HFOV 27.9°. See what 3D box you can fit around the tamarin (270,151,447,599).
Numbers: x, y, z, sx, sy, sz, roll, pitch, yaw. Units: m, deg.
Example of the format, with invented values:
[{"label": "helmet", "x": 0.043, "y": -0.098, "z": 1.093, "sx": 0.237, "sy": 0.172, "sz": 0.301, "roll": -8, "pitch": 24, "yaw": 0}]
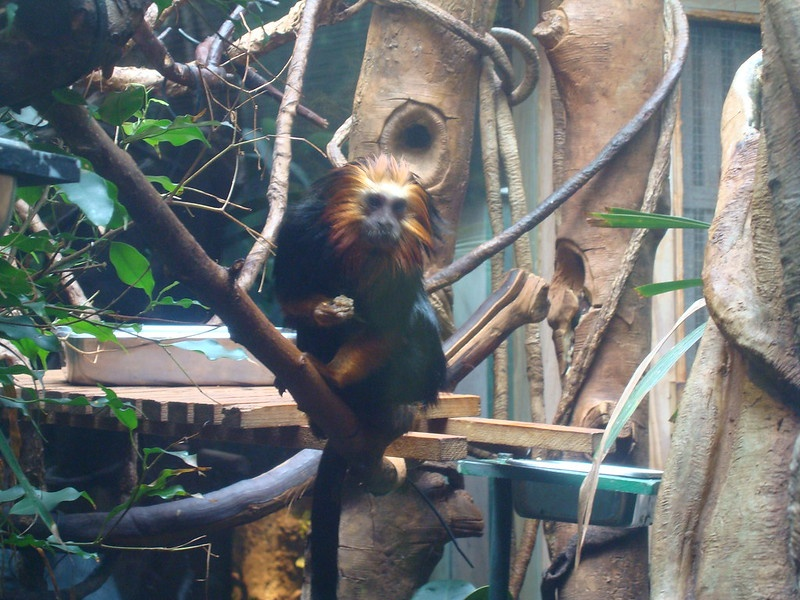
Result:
[{"label": "tamarin", "x": -0.082, "y": 0.003, "z": 3.565, "sx": 0.409, "sy": 0.652, "sz": 0.185, "roll": 6, "pitch": 4, "yaw": -6}]
